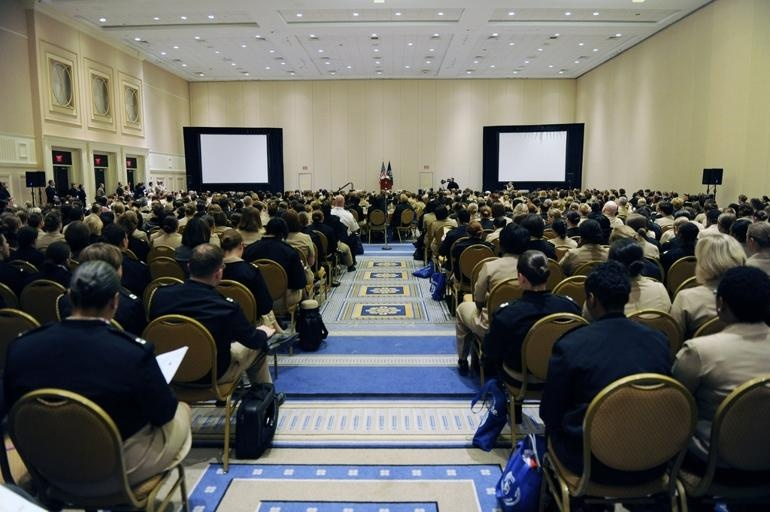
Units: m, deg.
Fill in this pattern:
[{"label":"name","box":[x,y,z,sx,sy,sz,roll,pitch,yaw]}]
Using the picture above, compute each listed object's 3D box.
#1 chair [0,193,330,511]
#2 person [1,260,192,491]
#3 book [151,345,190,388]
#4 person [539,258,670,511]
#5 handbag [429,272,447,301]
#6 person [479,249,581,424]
[{"label":"chair","box":[-1.685,0.904,5.109,1.175,1.831,3.187,0,1,2]},{"label":"person","box":[-2.035,0.883,3.815,1.112,1.701,0.436,-5,10,-24]},{"label":"book","box":[-1.710,0.872,4.276,0.318,0.049,0.317,-20,47,12]},{"label":"person","box":[1.608,0.822,3.945,0.852,1.539,0.485,-2,9,-7]},{"label":"handbag","box":[0.997,0.558,9.759,0.178,0.449,0.470,1,2,-6]},{"label":"person","box":[1.490,0.784,5.426,1.044,1.870,1.110,-2,19,10]}]
